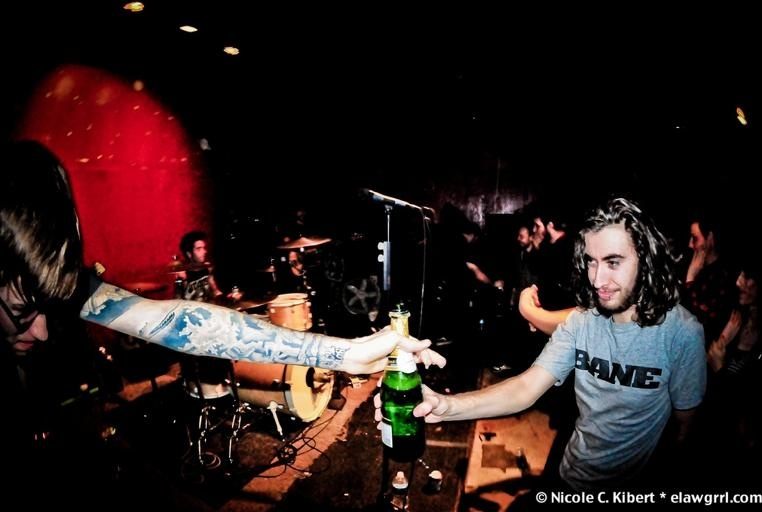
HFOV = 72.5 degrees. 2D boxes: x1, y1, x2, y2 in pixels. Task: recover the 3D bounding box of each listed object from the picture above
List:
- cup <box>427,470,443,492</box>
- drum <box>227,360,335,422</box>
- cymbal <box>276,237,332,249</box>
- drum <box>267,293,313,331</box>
[{"bbox_3d":[0.670,2.817,6.474,0.201,0.212,0.240,0,-5,10],"label":"cup"},{"bbox_3d":[-1.424,1.833,7.012,0.767,1.032,1.250,12,-5,29],"label":"drum"},{"bbox_3d":[-1.398,-0.233,9.600,0.476,0.101,0.448,-6,8,-30],"label":"cymbal"},{"bbox_3d":[-1.363,0.816,7.418,0.629,0.419,0.626,-1,6,0],"label":"drum"}]
